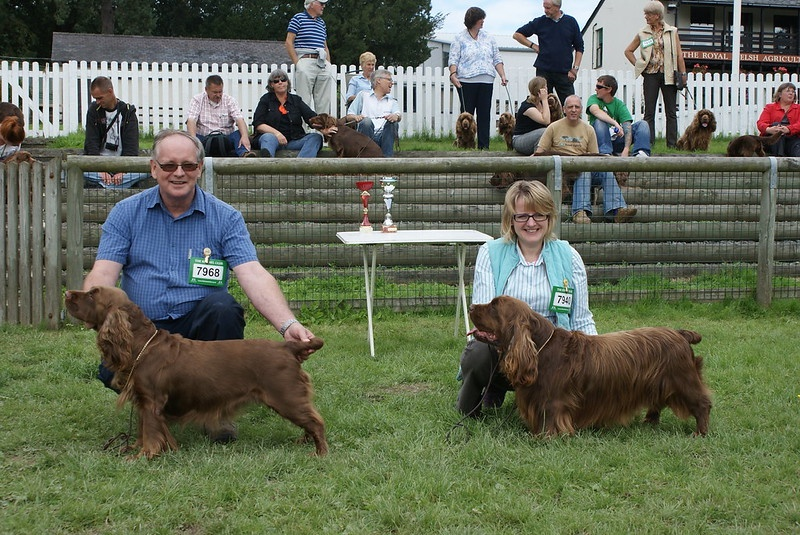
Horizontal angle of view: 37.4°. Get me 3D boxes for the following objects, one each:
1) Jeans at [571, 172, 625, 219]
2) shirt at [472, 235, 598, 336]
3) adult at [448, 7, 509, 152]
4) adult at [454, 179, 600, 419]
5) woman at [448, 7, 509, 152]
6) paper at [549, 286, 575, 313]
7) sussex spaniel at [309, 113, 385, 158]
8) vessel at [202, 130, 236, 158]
[{"bbox_3d":[2.742,-1.039,16.464,0.509,0.566,0.204,-1,0,-11],"label":"Jeans"},{"bbox_3d":[1.529,0.281,13.746,1.412,1.638,0.829,2,-12,-2],"label":"shirt"},{"bbox_3d":[1.313,-3.311,20.802,0.847,2.452,0.667,0,6,2],"label":"adult"},{"bbox_3d":[1.363,0.417,13.382,1.562,2.799,1.322,2,-3,-25],"label":"adult"},{"bbox_3d":[1.312,-3.310,20.799,0.846,2.452,0.662,0,6,2],"label":"woman"},{"bbox_3d":[1.829,0.342,13.423,0.226,0.265,0.035,8,-6,-17],"label":"paper"},{"bbox_3d":[-0.808,-2.104,18.709,1.029,0.481,0.284,34,11,7],"label":"sussex spaniel"},{"bbox_3d":[-2.822,-1.914,18.363,0.519,0.322,0.818,2,22,-7],"label":"vessel"}]
